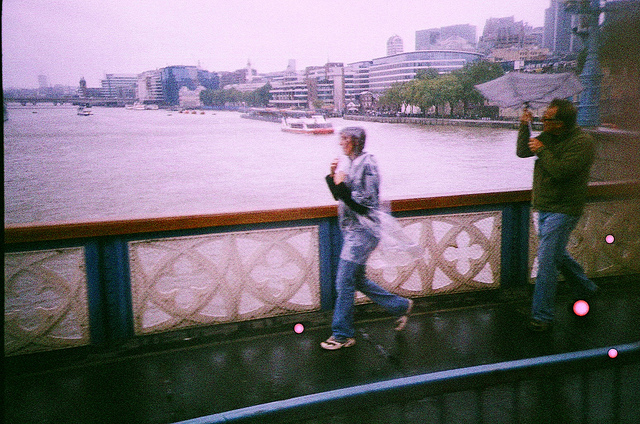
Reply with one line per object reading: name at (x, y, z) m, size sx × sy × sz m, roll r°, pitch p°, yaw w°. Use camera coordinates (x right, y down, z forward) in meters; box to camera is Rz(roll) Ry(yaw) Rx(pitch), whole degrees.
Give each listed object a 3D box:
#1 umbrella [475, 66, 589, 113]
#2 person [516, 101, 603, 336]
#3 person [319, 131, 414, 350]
umbrella at (2.176, -1.277, 5.222) m, size 0.671 × 0.215 × 0.600 m, roll 14°, pitch 54°, yaw 36°
person at (2.256, 0.029, 5.020) m, size 0.718 × 2.154 × 0.934 m, roll 4°, pitch 15°, yaw 28°
person at (0.340, 0.228, 4.859) m, size 0.925 × 1.947 × 0.462 m, roll -8°, pitch 14°, yaw -21°
